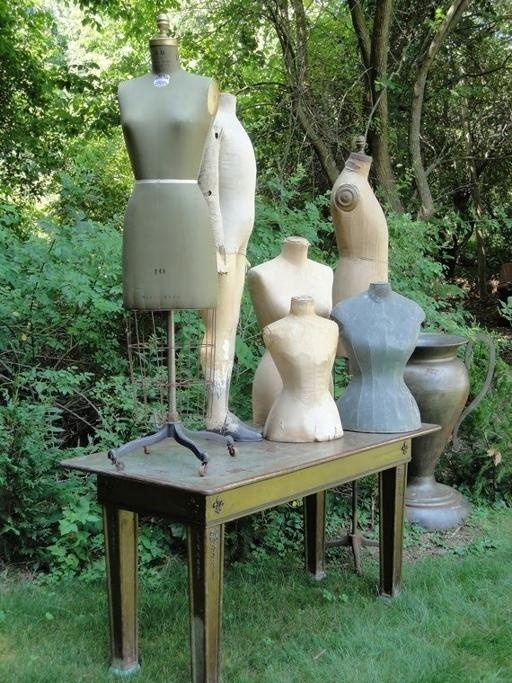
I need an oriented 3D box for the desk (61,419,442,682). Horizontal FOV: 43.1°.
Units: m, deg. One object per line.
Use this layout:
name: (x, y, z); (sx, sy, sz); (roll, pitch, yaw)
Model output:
desk: (0.067, 0.751, 2.490); (0.707, 0.779, 1.427); (1, 3, 40)
